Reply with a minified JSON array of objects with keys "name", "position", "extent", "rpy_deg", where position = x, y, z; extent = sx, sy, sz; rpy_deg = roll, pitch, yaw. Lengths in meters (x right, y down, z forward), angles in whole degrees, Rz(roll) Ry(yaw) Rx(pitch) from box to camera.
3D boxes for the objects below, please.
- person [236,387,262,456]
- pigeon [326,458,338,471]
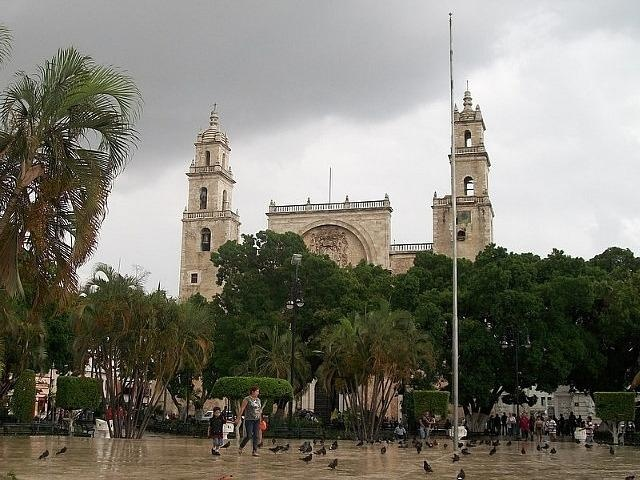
[{"name":"person","position":[-2.098,5.614,29.196],"extent":[1.029,2.472,0.846],"rpy_deg":[-7,-11,41]},{"name":"pigeon","position":[0.383,6.628,27.412],"extent":[0.350,0.378,0.279],"rpy_deg":[-2,-26,5]}]
